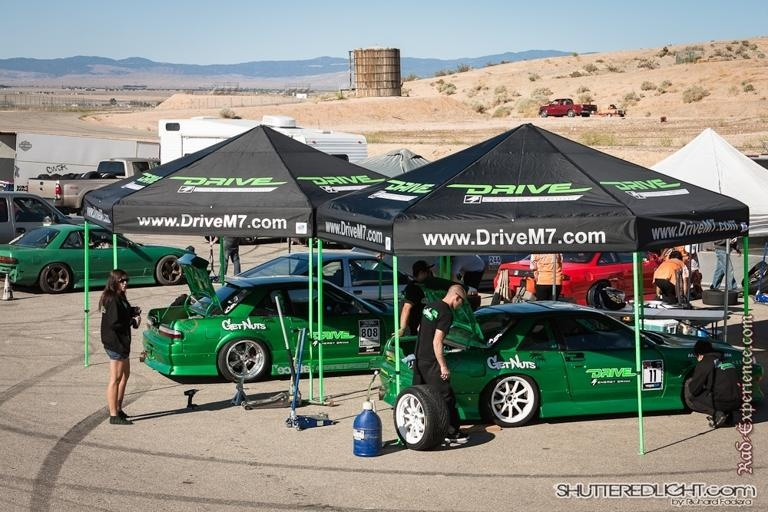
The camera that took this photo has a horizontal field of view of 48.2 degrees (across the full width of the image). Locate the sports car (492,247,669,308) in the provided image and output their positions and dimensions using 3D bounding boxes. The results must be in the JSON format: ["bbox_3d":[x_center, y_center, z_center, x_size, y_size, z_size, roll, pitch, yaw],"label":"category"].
[{"bbox_3d":[4.479,0.444,20.031,6.240,1.569,2.347,1,-2,-9],"label":"sports car"}]

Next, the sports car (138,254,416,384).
[{"bbox_3d":[-1.661,1.214,16.099,5.616,1.303,2.454,-2,6,-29],"label":"sports car"}]

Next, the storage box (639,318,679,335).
[{"bbox_3d":[5.063,1.301,15.730,0.674,0.279,0.427,-1,2,-28],"label":"storage box"}]

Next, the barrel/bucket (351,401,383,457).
[{"bbox_3d":[-0.241,2.414,12.068,0.429,0.806,0.275,0,16,-1],"label":"barrel/bucket"}]

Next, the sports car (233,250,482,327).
[{"bbox_3d":[-0.553,0.740,18.841,4.542,1.110,1.786,-1,7,-15],"label":"sports car"}]

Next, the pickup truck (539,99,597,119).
[{"bbox_3d":[16.393,-13.407,78.990,4.685,1.221,2.405,4,7,29],"label":"pickup truck"}]

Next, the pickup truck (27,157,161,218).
[{"bbox_3d":[-11.378,-2.934,35.043,3.198,2.104,7.230,15,15,29],"label":"pickup truck"}]

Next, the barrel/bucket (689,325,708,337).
[{"bbox_3d":[5.572,1.385,15.172,0.310,0.131,0.523,6,5,21],"label":"barrel/bucket"}]

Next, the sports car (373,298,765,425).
[{"bbox_3d":[2.615,1.695,13.637,5.197,1.116,2.164,-4,8,-10],"label":"sports car"}]
